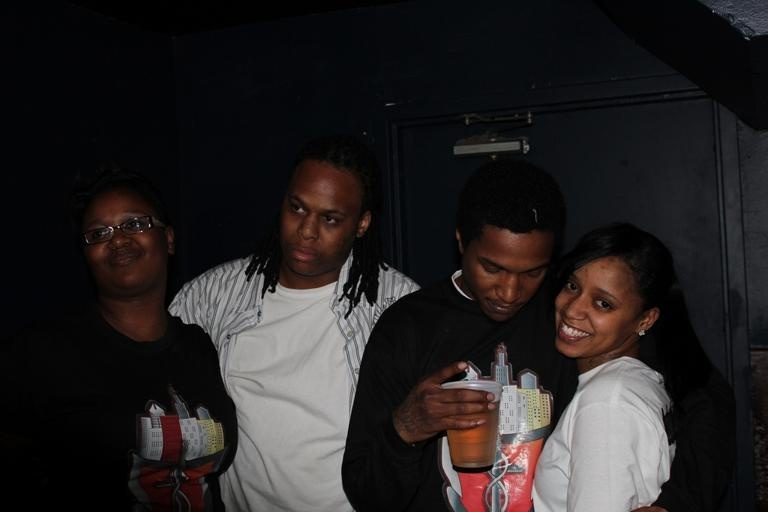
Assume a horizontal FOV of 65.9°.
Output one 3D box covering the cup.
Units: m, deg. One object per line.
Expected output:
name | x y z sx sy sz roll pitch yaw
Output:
cup | 0.365 0.724 2.557 0.252 0.404 0.156 4 4 5
